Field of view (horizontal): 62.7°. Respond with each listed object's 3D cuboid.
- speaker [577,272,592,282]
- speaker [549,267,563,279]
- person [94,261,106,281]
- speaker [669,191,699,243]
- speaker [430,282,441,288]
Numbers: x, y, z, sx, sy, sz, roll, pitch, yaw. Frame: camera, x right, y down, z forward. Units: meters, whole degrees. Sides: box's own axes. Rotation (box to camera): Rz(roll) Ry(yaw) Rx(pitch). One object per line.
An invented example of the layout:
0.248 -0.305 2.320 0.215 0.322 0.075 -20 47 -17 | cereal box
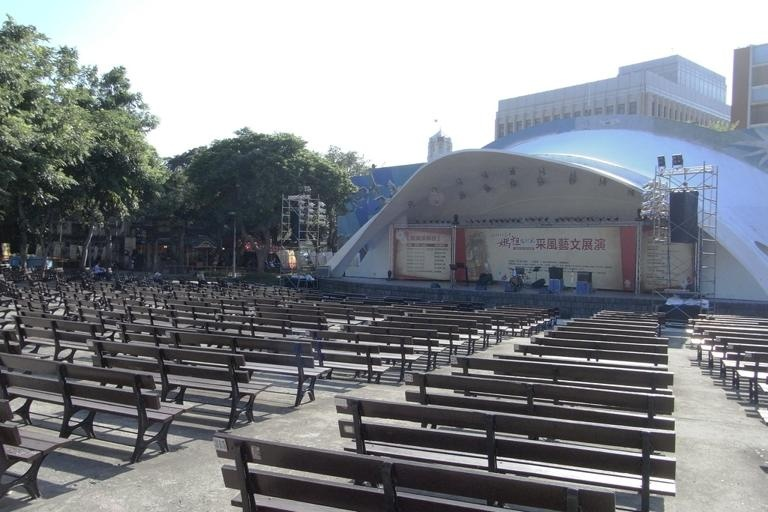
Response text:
9.746 1.019 30.597 0.664 0.630 0.653 -6 -14 44 | speaker
8.463 0.862 31.158 0.600 0.575 0.574 5 -6 -44 | speaker
-20.389 1.069 45.110 0.890 1.407 0.454 6 25 7 | person
11.560 -1.528 24.282 1.013 1.973 0.559 1 -5 27 | speaker
2.586 1.482 31.658 0.320 0.213 0.303 -5 -9 39 | speaker
